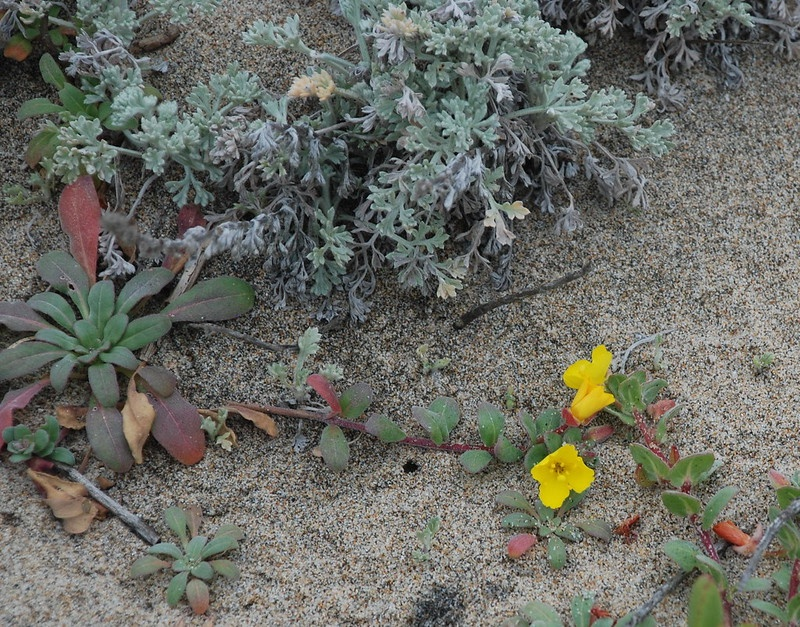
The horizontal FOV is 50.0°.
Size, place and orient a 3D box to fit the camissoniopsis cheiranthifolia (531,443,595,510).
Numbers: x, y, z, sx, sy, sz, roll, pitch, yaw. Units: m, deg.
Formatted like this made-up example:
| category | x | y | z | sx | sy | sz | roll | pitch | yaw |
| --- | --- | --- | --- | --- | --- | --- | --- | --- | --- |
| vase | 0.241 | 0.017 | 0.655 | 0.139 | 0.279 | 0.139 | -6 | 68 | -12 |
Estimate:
| category | x | y | z | sx | sy | sz | roll | pitch | yaw |
| --- | --- | --- | --- | --- | --- | --- | --- | --- | --- |
| camissoniopsis cheiranthifolia | 0.540 | 0.544 | 2.928 | 0.200 | 0.098 | 0.209 | -41 | 106 | 2 |
